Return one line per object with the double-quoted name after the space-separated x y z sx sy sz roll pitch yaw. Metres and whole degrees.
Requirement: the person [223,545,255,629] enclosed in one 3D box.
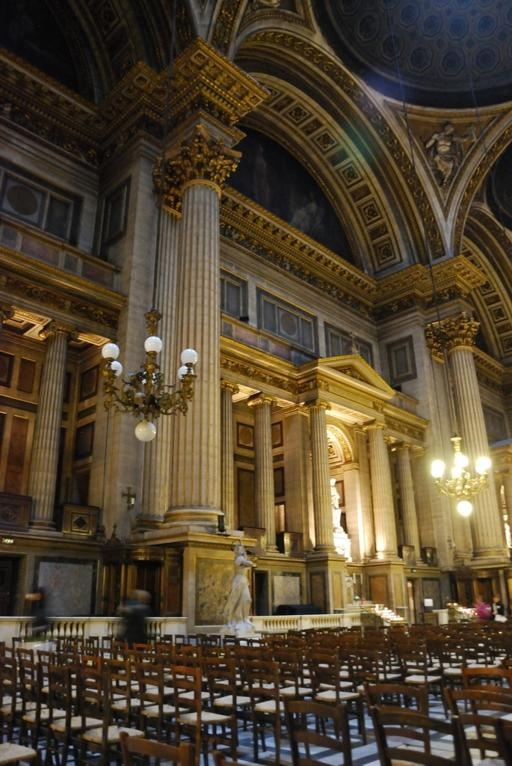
-0.364 4.040 11.095 0.542 1.642 0.913 0 -22 -3 "person"
